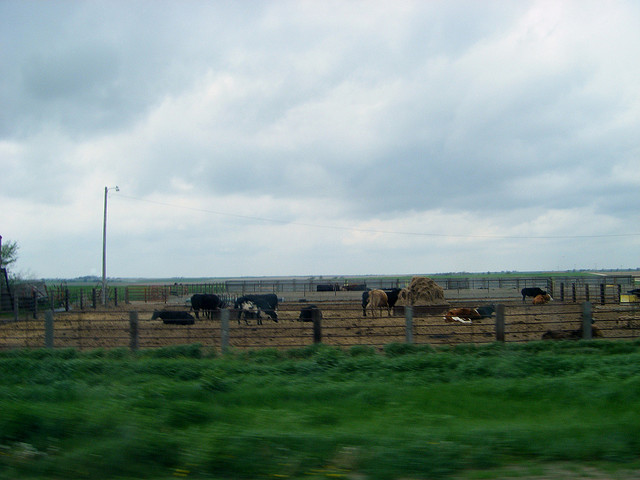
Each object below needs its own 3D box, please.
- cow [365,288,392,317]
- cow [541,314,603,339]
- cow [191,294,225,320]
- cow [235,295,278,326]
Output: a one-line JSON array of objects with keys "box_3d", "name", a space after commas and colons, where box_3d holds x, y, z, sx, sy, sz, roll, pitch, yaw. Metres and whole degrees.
[{"box_3d": [2.194, 2.328, 26.400, 0.854, 0.930, 2.515, 0, 2, 4], "name": "cow"}, {"box_3d": [6.133, 2.031, 17.289, 1.342, 0.774, 2.255, 1, 2, 19], "name": "cow"}, {"box_3d": [-4.343, 2.517, 26.887, 1.171, 0.903, 2.836, 0, 2, -9], "name": "cow"}, {"box_3d": [-2.339, 2.531, 25.883, 2.017, 1.015, 0.509, 1, -7, 22], "name": "cow"}]
